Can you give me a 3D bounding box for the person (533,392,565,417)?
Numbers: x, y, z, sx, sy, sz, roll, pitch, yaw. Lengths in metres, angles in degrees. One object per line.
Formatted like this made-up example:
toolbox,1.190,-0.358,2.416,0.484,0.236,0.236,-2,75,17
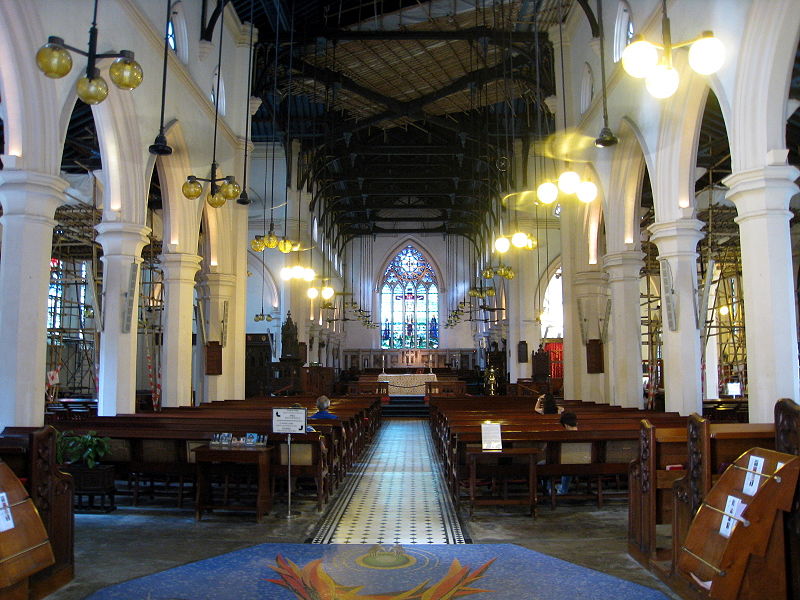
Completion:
person,2.548,1.812,13.197,0.464,0.286,0.738,0,-3,11
